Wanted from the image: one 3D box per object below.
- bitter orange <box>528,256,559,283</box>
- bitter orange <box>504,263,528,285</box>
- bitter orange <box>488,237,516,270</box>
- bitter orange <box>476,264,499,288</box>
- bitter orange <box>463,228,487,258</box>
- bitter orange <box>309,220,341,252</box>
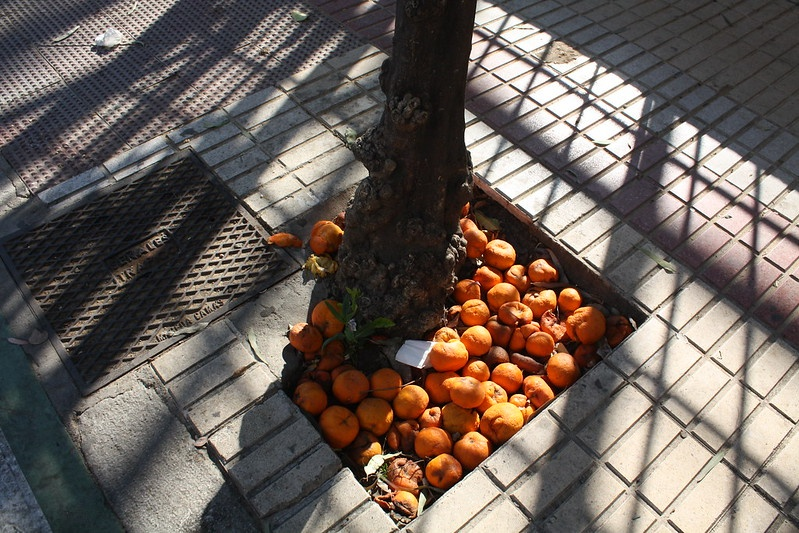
[{"bbox_3d":[1.136,0.034,4.552,0.251,0.120,0.197,-3,80,0],"label":"bitter orange"},{"bbox_3d":[0.915,0.073,4.535,0.186,0.138,0.158,-4,80,0],"label":"bitter orange"},{"bbox_3d":[0.782,-0.094,4.599,0.205,0.220,0.213,5,25,-3],"label":"bitter orange"},{"bbox_3d":[0.679,0.091,4.466,0.151,0.089,0.161,2,47,1],"label":"bitter orange"},{"bbox_3d":[0.599,-0.182,4.574,0.185,0.200,0.240,-7,86,11],"label":"bitter orange"},{"bbox_3d":[-0.575,-0.218,4.577,0.261,0.115,0.272,6,80,2],"label":"bitter orange"}]
